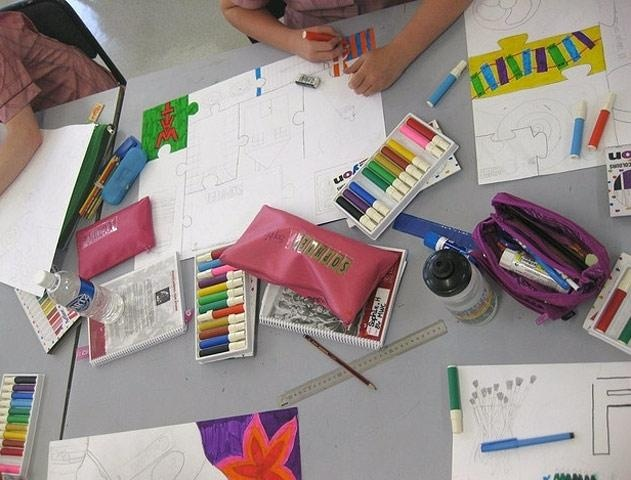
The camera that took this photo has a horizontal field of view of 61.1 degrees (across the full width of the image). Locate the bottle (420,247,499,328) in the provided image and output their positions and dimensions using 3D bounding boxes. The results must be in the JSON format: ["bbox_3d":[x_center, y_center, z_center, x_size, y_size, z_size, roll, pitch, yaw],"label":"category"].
[{"bbox_3d":[0.289,0.096,1.052,0.070,0.127,0.072,-8,67,20],"label":"bottle"}]

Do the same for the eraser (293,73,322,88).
[{"bbox_3d":[-0.019,-0.409,1.350,0.053,0.014,0.036,5,75,15],"label":"eraser"}]

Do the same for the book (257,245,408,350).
[{"bbox_3d":[0.023,0.145,1.140,0.248,0.074,0.245,15,86,10],"label":"book"}]

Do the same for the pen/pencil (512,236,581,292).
[{"bbox_3d":[0.450,0.049,1.037,0.120,0.023,0.025,50,124,19],"label":"pen/pencil"}]

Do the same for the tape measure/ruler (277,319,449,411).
[{"bbox_3d":[0.114,0.274,1.138,0.351,0.017,0.040,-32,65,10],"label":"tape measure/ruler"}]

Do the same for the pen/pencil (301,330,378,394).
[{"bbox_3d":[0.057,0.271,1.157,0.203,0.017,0.019,39,115,13],"label":"pen/pencil"}]

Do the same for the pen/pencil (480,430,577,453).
[{"bbox_3d":[0.409,0.388,1.013,0.175,0.028,0.022,-7,102,10],"label":"pen/pencil"}]

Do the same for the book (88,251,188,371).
[{"bbox_3d":[-0.432,0.169,1.330,0.266,0.063,0.286,-26,59,23],"label":"book"}]

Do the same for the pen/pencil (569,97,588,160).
[{"bbox_3d":[0.544,-0.230,1.111,0.027,0.025,0.148,-1,70,44],"label":"pen/pencil"}]
